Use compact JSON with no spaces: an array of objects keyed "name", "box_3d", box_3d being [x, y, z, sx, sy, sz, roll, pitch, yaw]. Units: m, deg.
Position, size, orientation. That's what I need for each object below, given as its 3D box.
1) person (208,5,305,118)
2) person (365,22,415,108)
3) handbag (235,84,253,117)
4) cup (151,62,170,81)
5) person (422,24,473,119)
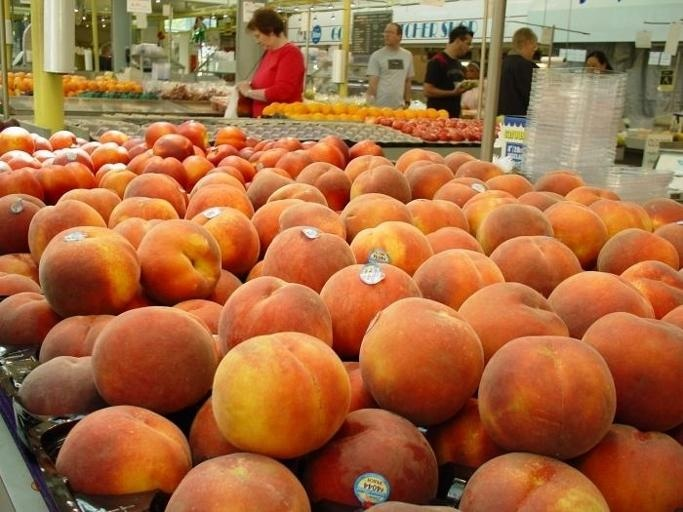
[{"name":"person","box_3d":[-0.777,-2.075,5.710,0.817,1.100,0.592,5,13,13]},{"name":"person","box_3d":[0.730,-2.752,7.683,0.659,1.112,0.490,1,13,-7]},{"name":"handbag","box_3d":[-1.105,-1.739,6.029,0.160,0.236,0.126,3,6,5]},{"name":"cup","box_3d":[-3.413,-3.539,10.144,0.363,0.395,0.364,3,11,-1]},{"name":"person","box_3d":[1.470,-2.578,7.402,0.600,1.212,0.640,4,13,7]}]
